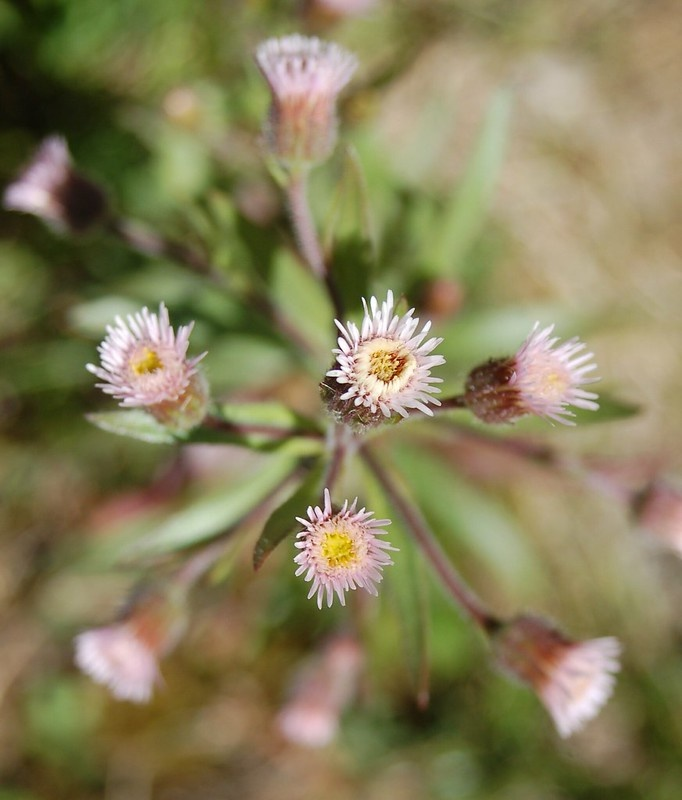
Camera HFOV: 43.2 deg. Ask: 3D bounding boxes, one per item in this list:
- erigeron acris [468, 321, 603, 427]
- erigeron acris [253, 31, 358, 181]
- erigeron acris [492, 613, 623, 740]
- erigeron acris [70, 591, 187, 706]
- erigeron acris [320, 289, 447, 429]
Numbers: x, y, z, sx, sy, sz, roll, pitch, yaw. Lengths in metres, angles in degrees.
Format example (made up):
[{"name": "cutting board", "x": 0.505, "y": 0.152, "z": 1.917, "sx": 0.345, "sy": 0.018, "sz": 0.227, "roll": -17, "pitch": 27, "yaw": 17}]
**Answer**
[{"name": "erigeron acris", "x": 0.233, "y": -0.023, "z": 1.151, "sx": 0.184, "sy": 0.114, "sz": 0.135, "roll": -7, "pitch": -34, "yaw": 34}, {"name": "erigeron acris", "x": -0.065, "y": -0.393, "z": 1.150, "sx": 0.197, "sy": 0.161, "sz": 0.165, "roll": 6, "pitch": 32, "yaw": -7}, {"name": "erigeron acris", "x": 0.277, "y": 0.330, "z": 1.088, "sx": 0.134, "sy": 0.158, "sz": 0.095, "roll": -38, "pitch": -6, "yaw": -2}, {"name": "erigeron acris", "x": -0.276, "y": 0.309, "z": 1.129, "sx": 0.131, "sy": 0.040, "sz": 0.157, "roll": 34, "pitch": 31, "yaw": -3}, {"name": "erigeron acris", "x": 0.054, "y": -0.031, "z": 0.994, "sx": 0.169, "sy": 0.072, "sz": 0.143, "roll": 18, "pitch": -37, "yaw": -7}]
